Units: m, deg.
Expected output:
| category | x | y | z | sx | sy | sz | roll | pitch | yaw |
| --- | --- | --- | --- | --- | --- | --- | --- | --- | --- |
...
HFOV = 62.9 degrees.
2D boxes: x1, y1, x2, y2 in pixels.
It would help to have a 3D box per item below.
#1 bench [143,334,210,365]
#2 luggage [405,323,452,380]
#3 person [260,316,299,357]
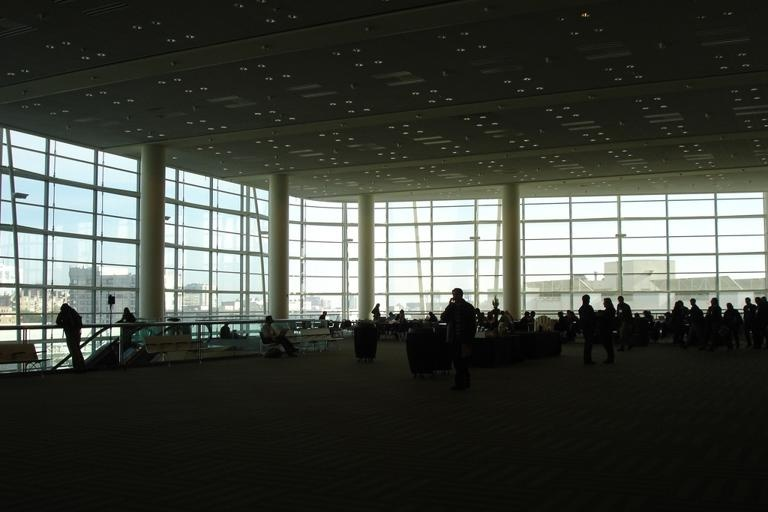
| category | x | y | z | sx | sy | sz | roll | pitch | yaw |
| --- | --- | --- | --- | --- | --- | --- | --- | --- | --- |
| bench | -5.870 | 2.621 | 17.839 | 0.201 | 0.789 | 1.954 | -5 | -6 | 33 |
| luggage | 1.102 | 2.279 | 14.913 | 1.067 | 1.084 | 0.332 | 0 | -5 | -14 |
| person | -3.574 | 2.702 | 21.452 | 1.130 | 1.274 | 3.139 | -1 | -5 | -9 |
